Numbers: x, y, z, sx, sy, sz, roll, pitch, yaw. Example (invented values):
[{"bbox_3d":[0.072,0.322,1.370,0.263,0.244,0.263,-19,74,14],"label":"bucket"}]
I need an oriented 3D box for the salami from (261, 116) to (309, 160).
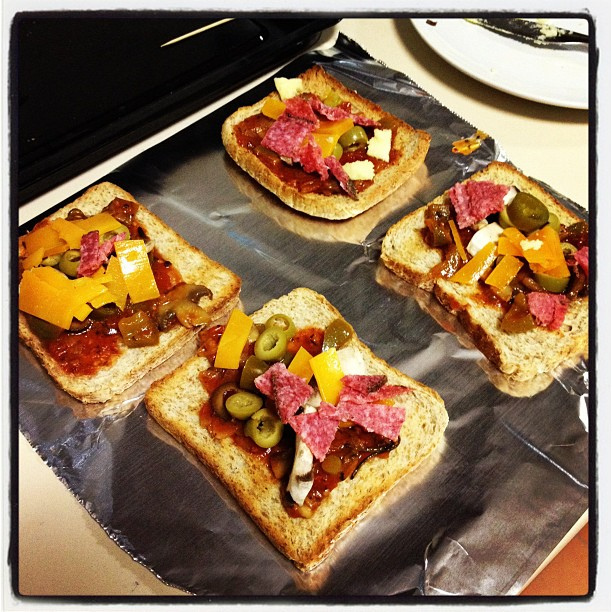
[{"bbox_3d":[-0.128,-1.166,3.979,0.316,0.064,0.298,30,80,24],"label":"salami"}]

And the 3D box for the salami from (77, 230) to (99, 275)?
[{"bbox_3d":[-1.300,-0.357,3.462,0.140,0.059,0.230,12,50,-43],"label":"salami"}]

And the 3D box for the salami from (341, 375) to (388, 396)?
[{"bbox_3d":[0.309,0.406,3.088,0.140,0.032,0.145,-21,27,-37],"label":"salami"}]

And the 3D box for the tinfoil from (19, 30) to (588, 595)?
[{"bbox_3d":[0.143,0.195,4.133,3.582,0.406,3.518,-39,78,-16],"label":"tinfoil"}]

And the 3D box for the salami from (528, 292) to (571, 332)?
[{"bbox_3d":[1.479,0.022,3.567,0.270,0.060,0.227,2,75,-5],"label":"salami"}]

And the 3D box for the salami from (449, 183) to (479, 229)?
[{"bbox_3d":[1.075,-0.717,3.916,0.079,0.342,0.310,12,77,29],"label":"salami"}]
